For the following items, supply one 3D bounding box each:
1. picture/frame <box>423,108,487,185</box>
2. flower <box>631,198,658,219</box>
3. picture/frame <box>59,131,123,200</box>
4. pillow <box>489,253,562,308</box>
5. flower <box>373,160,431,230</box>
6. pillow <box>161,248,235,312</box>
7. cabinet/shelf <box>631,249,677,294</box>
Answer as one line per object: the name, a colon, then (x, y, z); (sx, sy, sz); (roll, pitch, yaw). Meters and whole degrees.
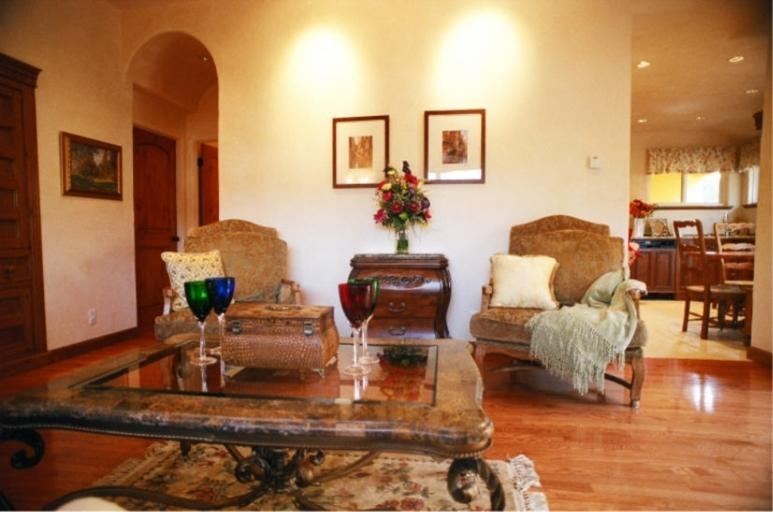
picture/frame: (0.721, -1.133, 5.692); (0.824, 0.867, 0.066); (0, 4, 2)
flower: (3.768, -0.693, 8.287); (0.391, 0.265, 0.389); (5, 9, 28)
picture/frame: (-3.112, -0.930, 6.024); (0.056, 0.642, 0.722); (0, 0, 26)
pillow: (1.264, 0.227, 5.141); (0.615, 0.470, 0.361); (2, 4, 11)
flower: (0.196, -0.564, 5.727); (0.727, 0.867, 0.658); (0, -2, 7)
pillow: (-1.815, 0.152, 5.210); (0.646, 0.605, 0.192); (-8, -13, -36)
cabinet/shelf: (3.960, 0.190, 8.301); (0.668, 0.607, 0.360); (1, 7, 17)
